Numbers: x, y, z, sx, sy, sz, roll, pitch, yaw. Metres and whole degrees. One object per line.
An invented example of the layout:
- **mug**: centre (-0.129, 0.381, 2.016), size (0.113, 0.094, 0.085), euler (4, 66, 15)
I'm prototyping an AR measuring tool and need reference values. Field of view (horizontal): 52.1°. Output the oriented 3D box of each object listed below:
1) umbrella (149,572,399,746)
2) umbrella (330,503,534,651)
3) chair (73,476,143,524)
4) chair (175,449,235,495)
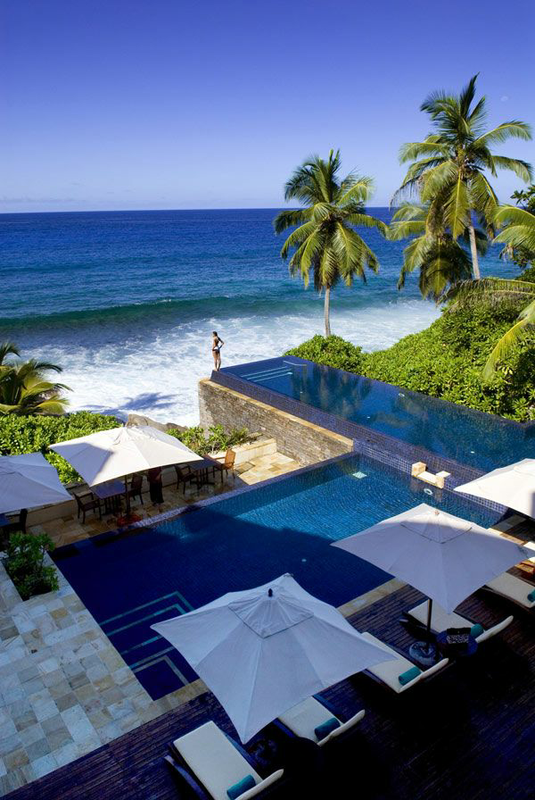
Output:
- **umbrella**: centre (-0.008, 1.891, 4.182), size (1.516, 0.685, 1.485), euler (-13, 29, -33)
- **umbrella**: centre (1.692, 1.138, 5.523), size (1.372, 1.245, 1.614), euler (-23, 27, -25)
- **chair**: centre (-3.116, 1.920, 10.720), size (1.011, 0.462, 0.909), euler (-10, 25, -27)
- **chair**: centre (-1.429, 1.628, 12.472), size (1.406, 0.679, 0.626), euler (-24, 39, -38)
